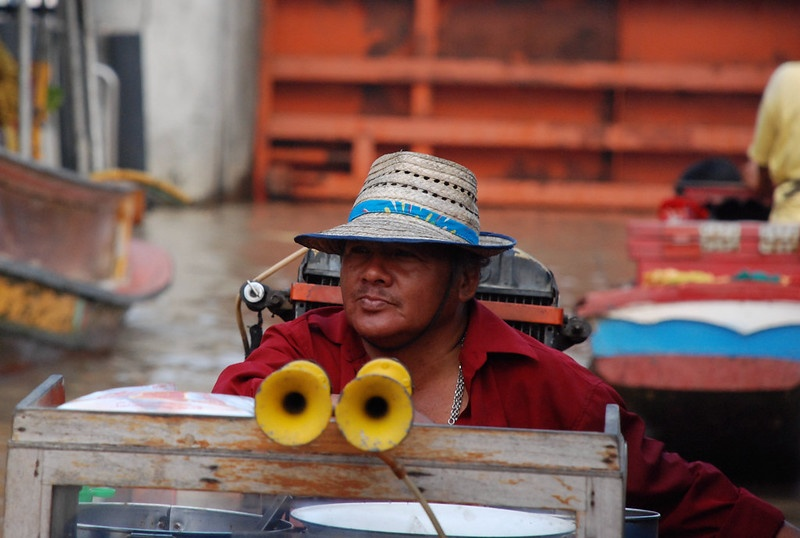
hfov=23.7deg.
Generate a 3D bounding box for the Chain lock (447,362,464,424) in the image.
[{"bbox_3d":[0.281,0.577,8.919,0.063,0.288,0.035,10,-20,14],"label":"Chain lock"}]

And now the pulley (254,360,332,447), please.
[{"bbox_3d":[-0.452,0.584,8.122,0.224,0.190,0.314,-33,3,4],"label":"pulley"}]

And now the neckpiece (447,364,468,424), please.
[{"bbox_3d":[0.284,0.579,8.927,0.066,0.290,0.039,11,-21,14],"label":"neckpiece"}]
